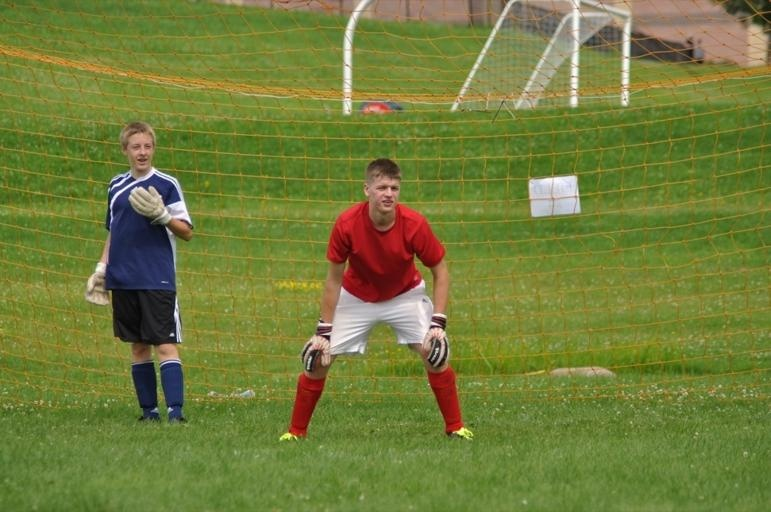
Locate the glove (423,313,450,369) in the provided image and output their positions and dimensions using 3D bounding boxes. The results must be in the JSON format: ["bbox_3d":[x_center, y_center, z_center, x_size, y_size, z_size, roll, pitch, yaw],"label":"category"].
[{"bbox_3d":[0.861,1.399,27.077,0.400,0.801,0.550,2,24,0],"label":"glove"}]

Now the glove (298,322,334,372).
[{"bbox_3d":[-1.161,1.536,27.038,0.247,0.830,0.492,11,28,-51],"label":"glove"}]
